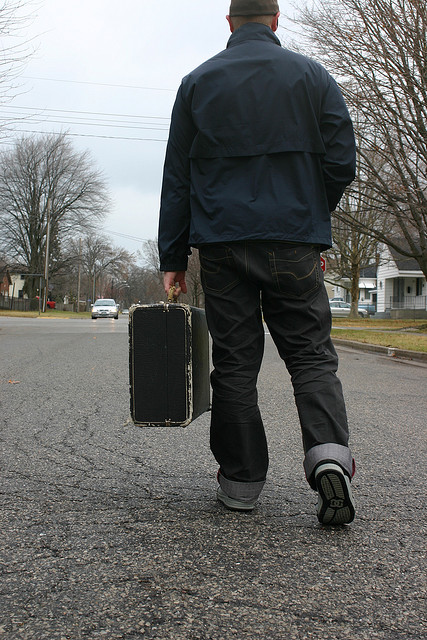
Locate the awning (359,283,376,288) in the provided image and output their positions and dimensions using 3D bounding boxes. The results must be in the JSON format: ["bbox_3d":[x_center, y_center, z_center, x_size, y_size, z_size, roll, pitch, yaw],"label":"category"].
[{"bbox_3d":[19.493,-4.352,65.683,1.966,0.572,0.743,0,1,-4],"label":"awning"}]

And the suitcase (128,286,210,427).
[{"bbox_3d":[-0.141,0.106,2.283,0.261,0.482,0.472,-2,5,13],"label":"suitcase"}]

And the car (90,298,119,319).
[{"bbox_3d":[-8.582,-0.831,40.731,1.862,1.431,2.153,-1,1,-18],"label":"car"}]

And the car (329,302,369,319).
[{"bbox_3d":[11.312,-0.756,43.338,3.427,1.356,1.567,-2,3,-6],"label":"car"}]

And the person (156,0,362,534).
[{"bbox_3d":[0.133,-0.269,1.980,0.779,2.079,0.466,0,1,16],"label":"person"}]

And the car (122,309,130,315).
[{"bbox_3d":[-10.799,-0.963,62.881,1.073,0.932,2.630,-1,-2,-5],"label":"car"}]
